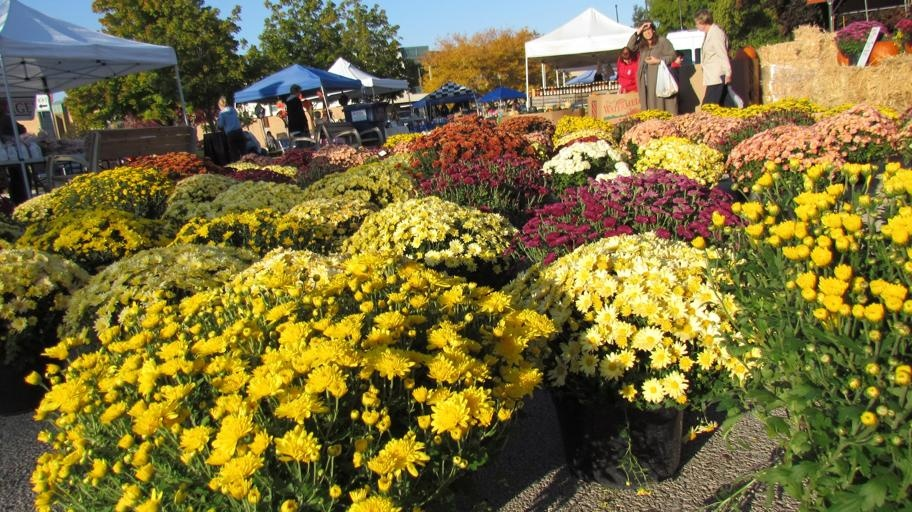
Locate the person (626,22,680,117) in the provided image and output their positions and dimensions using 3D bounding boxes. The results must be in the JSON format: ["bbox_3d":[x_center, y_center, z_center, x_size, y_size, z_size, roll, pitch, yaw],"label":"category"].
[{"bbox_3d":[3.614,-3.476,11.594,0.758,1.679,0.523,19,42,40],"label":"person"}]

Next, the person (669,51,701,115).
[{"bbox_3d":[4.909,-3.634,13.193,0.544,0.936,0.977,-19,9,25],"label":"person"}]

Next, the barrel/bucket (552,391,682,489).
[{"bbox_3d":[1.271,1.375,5.037,0.838,0.610,0.720,0,-1,-3],"label":"barrel/bucket"}]
